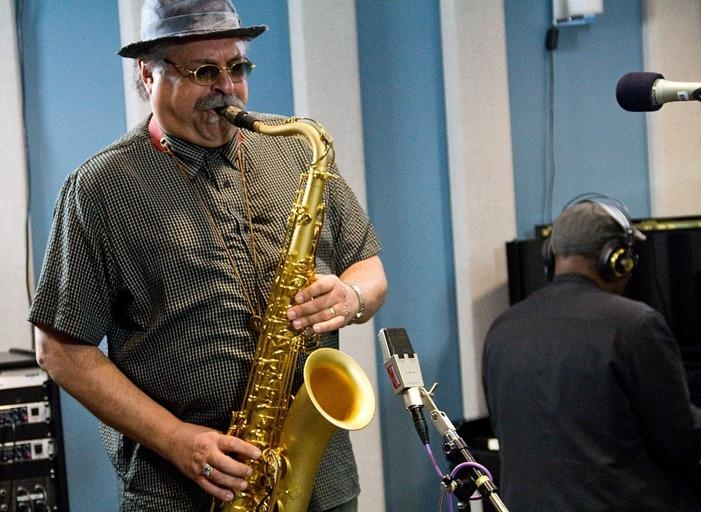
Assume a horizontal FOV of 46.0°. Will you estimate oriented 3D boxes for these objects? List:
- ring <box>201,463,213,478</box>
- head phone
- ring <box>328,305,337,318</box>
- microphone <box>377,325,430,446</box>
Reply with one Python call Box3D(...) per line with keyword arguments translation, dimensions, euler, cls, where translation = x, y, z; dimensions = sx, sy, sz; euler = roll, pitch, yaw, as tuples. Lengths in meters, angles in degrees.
Box3D(translation=(-0.369, 0.548, 2.124), dimensions=(0.033, 0.040, 0.020), euler=(-7, -4, 41), cls="ring")
Box3D(translation=(0.749, -0.047, 2.490), dimensions=(0.286, 0.270, 0.295), euler=(3, -3, -14), cls="head phone")
Box3D(translation=(-0.049, 0.151, 2.271), dimensions=(0.024, 0.026, 0.022), euler=(-9, -12, -2), cls="ring")
Box3D(translation=(0.135, 0.302, 2.167), dimensions=(0.091, 0.363, 0.083), euler=(-11, -35, -8), cls="microphone")
